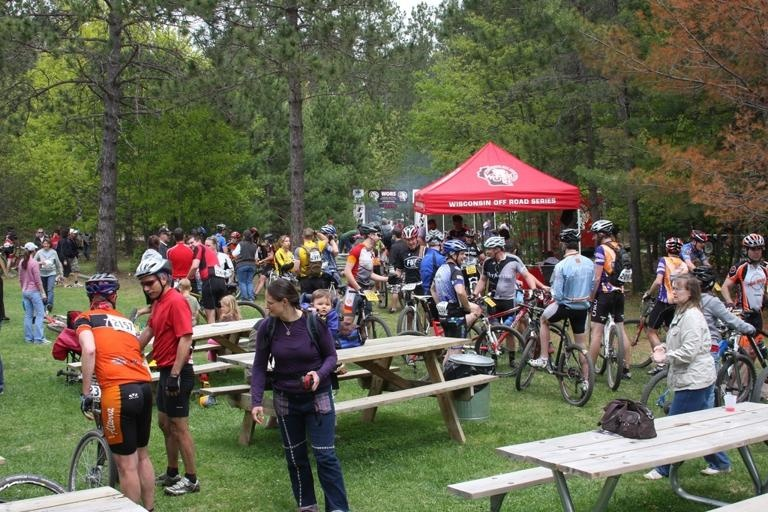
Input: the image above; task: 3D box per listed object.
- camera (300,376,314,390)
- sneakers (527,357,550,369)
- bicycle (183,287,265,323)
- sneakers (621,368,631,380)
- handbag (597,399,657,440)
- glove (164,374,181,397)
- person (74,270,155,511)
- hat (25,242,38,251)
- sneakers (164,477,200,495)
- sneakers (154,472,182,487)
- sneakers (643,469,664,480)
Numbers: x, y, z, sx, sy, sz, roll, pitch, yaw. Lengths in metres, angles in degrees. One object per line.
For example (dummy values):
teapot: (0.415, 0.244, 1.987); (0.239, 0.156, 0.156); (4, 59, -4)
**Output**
camera: (-1.117, 1.853, 11.983); (0.146, 0.195, 0.199); (2, 6, 18)
sneakers: (3.062, 2.122, 16.268); (0.324, 0.210, 0.200); (7, -2, 18)
bicycle: (-4.049, 1.365, 21.617); (1.624, 1.048, 0.828); (-6, 1, -12)
sneakers: (5.058, 2.453, 17.106); (0.143, 0.176, 0.408); (-1, 0, 11)
handbag: (3.590, 2.404, 12.063); (0.877, 0.587, 0.515); (7, 7, 41)
glove: (-3.273, 1.998, 12.639); (0.215, 0.297, 0.125); (-1, 1, 12)
person: (-3.962, 2.056, 12.061); (1.009, 3.555, 0.673); (-1, 2, -10)
hat: (-9.693, -0.268, 22.443); (0.346, 0.259, 0.468); (-2, 21, -28)
sneakers: (-3.197, 3.657, 12.991); (0.609, 0.285, 0.228); (4, -5, -9)
sneakers: (-3.473, 3.583, 13.090); (0.448, 0.209, 0.170); (-1, 3, 8)
sneakers: (4.356, 3.530, 13.241); (0.292, 0.137, 0.142); (4, -7, -29)
